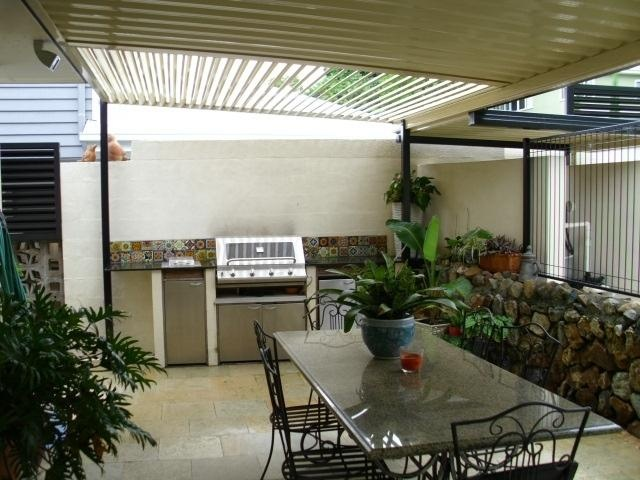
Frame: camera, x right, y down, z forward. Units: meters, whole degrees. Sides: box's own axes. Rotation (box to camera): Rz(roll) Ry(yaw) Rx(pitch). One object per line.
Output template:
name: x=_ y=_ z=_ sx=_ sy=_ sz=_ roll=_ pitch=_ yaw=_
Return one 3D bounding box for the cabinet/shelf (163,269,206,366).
cabinet/shelf: x=-1.503 y=0.908 z=5.477 sx=0.456 sy=0.963 sz=0.127 roll=0 pitch=9 yaw=-18

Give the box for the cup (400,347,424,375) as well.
cup: x=0.520 y=0.682 z=2.783 sx=0.133 sy=0.108 sz=0.138 roll=0 pitch=3 yaw=0

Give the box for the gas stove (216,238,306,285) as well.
gas stove: x=-0.700 y=0.225 z=5.768 sx=1.018 sy=0.458 sz=0.608 roll=0 pitch=8 yaw=-12
